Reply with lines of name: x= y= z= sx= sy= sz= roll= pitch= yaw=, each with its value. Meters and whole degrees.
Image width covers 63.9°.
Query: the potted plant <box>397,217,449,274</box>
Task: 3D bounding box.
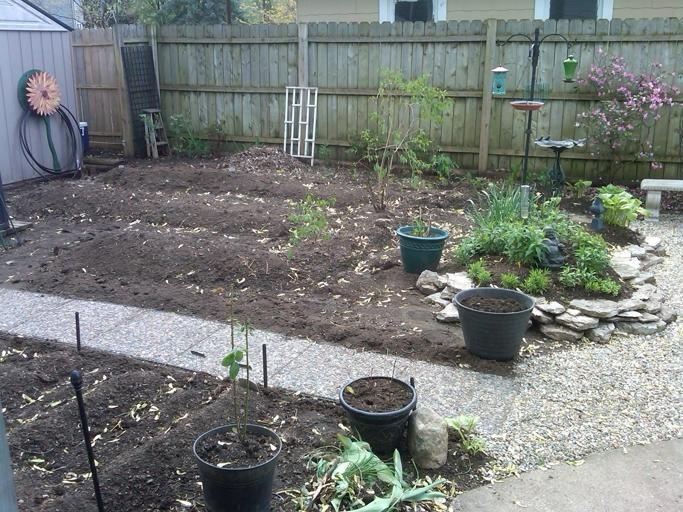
potted plant: x=0.907 y=-0.063 z=6.246 sx=0.618 sy=0.437 sz=0.583 roll=-1 pitch=15 yaw=-16

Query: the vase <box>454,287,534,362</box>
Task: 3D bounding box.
vase: x=1.312 y=0.582 z=4.785 sx=0.628 sy=0.419 sz=0.641 roll=-2 pitch=15 yaw=0

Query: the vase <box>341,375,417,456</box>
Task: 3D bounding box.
vase: x=0.203 y=1.102 z=3.688 sx=0.504 sy=0.316 sz=0.481 roll=-3 pitch=15 yaw=-39

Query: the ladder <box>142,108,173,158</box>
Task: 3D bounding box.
ladder: x=-3.977 y=-2.565 z=11.469 sx=0.523 sy=0.969 sz=0.907 roll=0 pitch=17 yaw=3
